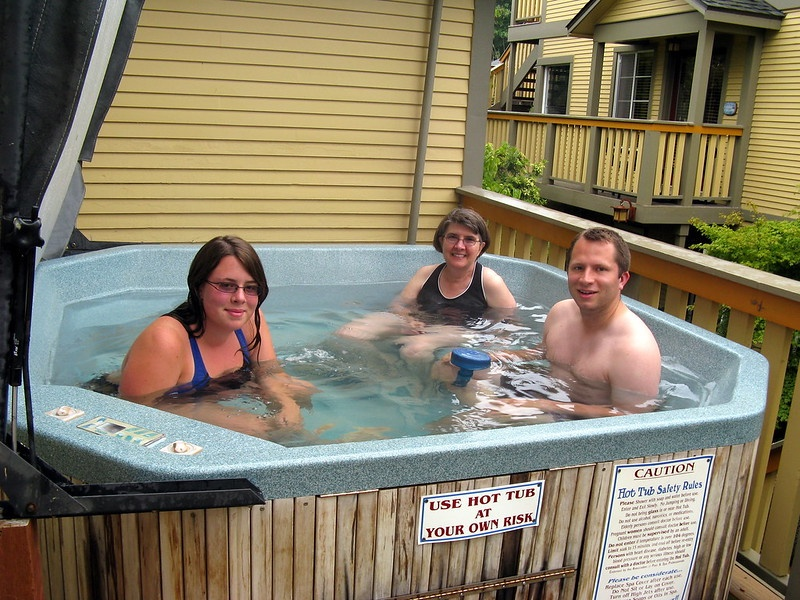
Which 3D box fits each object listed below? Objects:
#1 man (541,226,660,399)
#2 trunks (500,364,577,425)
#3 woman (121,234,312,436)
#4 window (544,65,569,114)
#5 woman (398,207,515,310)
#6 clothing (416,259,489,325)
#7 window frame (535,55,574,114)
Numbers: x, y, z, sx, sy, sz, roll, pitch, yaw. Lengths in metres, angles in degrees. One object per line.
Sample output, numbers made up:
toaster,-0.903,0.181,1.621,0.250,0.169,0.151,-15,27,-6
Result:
man,1.010,0.083,2.994,0.471,0.730,0.779,-9,24,-16
trunks,0.653,0.436,2.933,0.203,0.090,0.339,-6,13,-32
woman,-0.703,0.164,2.670,1.156,0.776,0.669,0,-1,8
window,3.764,-4.901,14.169,0.062,1.026,1.299,21,35,31
woman,0.419,-0.281,4.240,0.864,0.653,0.503,10,33,11
clothing,0.360,-0.036,4.030,0.493,0.387,0.254,4,14,24
window frame,3.864,-5.140,14.642,1.023,1.481,1.688,4,28,18
